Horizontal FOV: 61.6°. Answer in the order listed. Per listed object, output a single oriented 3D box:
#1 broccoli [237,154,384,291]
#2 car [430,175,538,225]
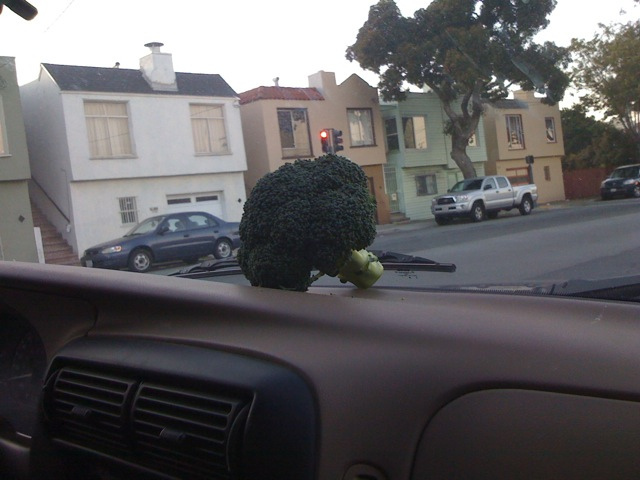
[{"bbox_3d":[-0.048,-0.001,1.954,0.451,0.494,0.425,-26,-14,-18],"label":"broccoli"},{"bbox_3d":[3.811,-0.950,12.202,2.716,1.088,1.095,-7,3,-35],"label":"car"}]
